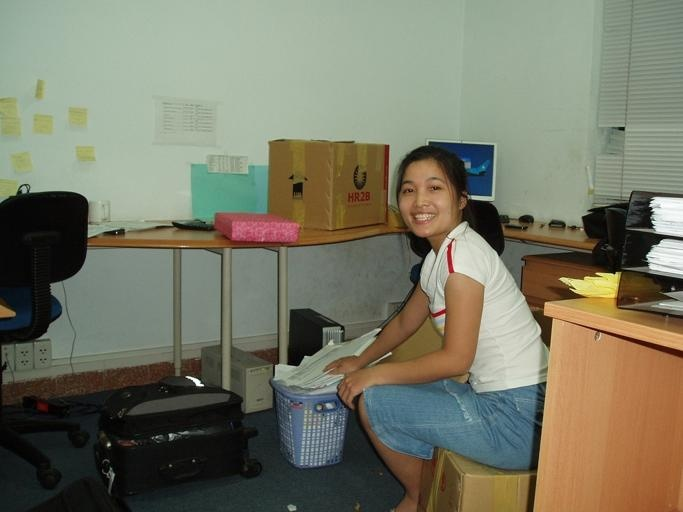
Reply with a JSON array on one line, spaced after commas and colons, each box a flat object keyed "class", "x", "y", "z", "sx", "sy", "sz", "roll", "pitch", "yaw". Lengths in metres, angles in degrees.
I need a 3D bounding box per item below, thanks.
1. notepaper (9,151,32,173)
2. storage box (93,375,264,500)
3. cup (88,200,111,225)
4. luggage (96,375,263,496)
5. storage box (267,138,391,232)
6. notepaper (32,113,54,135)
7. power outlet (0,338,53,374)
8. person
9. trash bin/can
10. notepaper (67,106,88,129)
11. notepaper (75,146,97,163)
[{"class": "notepaper", "x": -1.687, "y": -0.497, "z": 2.908, "sx": 0.102, "sy": 0.100, "sz": 0.025, "roll": -10, "pitch": 10, "yaw": -22}, {"class": "storage box", "x": -0.654, "y": 0.681, "z": 2.302, "sx": 0.558, "sy": 0.334, "sz": 0.413, "roll": -1, "pitch": 3, "yaw": -30}, {"class": "cup", "x": -1.291, "y": -0.231, "z": 2.941, "sx": 0.103, "sy": 0.117, "sz": 0.136, "roll": 1, "pitch": 1, "yaw": -7}, {"class": "luggage", "x": -0.667, "y": 0.693, "z": 2.249, "sx": 0.549, "sy": 0.326, "sz": 0.407, "roll": 0, "pitch": 3, "yaw": -30}, {"class": "storage box", "x": -0.081, "y": -0.422, "z": 3.214, "sx": 0.636, "sy": 0.450, "sz": 0.630, "roll": 7, "pitch": 15, "yaw": 24}, {"class": "notepaper", "x": -1.590, "y": -0.704, "z": 2.931, "sx": 0.112, "sy": 0.107, "sz": 0.027, "roll": -5, "pitch": 8, "yaw": -30}, {"class": "power outlet", "x": -1.696, "y": 0.468, "z": 2.965, "sx": 0.270, "sy": 0.224, "sz": 0.159, "roll": -1, "pitch": 3, "yaw": -36}, {"class": "person", "x": 0.359, "y": 0.314, "z": 1.941, "sx": 0.691, "sy": 1.393, "sz": 0.411, "roll": 1, "pitch": 9, "yaw": 20}, {"class": "trash bin/can", "x": -0.145, "y": 0.689, "z": 2.410, "sx": 0.375, "sy": 0.325, "sz": 0.399, "roll": -1, "pitch": 5, "yaw": -22}, {"class": "notepaper", "x": -1.434, "y": -0.753, "z": 2.991, "sx": 0.124, "sy": 0.121, "sz": 0.067, "roll": -1, "pitch": 3, "yaw": -27}, {"class": "notepaper", "x": -1.409, "y": -0.561, "z": 3.031, "sx": 0.090, "sy": 0.089, "sz": 0.026, "roll": -7, "pitch": 7, "yaw": -22}]
